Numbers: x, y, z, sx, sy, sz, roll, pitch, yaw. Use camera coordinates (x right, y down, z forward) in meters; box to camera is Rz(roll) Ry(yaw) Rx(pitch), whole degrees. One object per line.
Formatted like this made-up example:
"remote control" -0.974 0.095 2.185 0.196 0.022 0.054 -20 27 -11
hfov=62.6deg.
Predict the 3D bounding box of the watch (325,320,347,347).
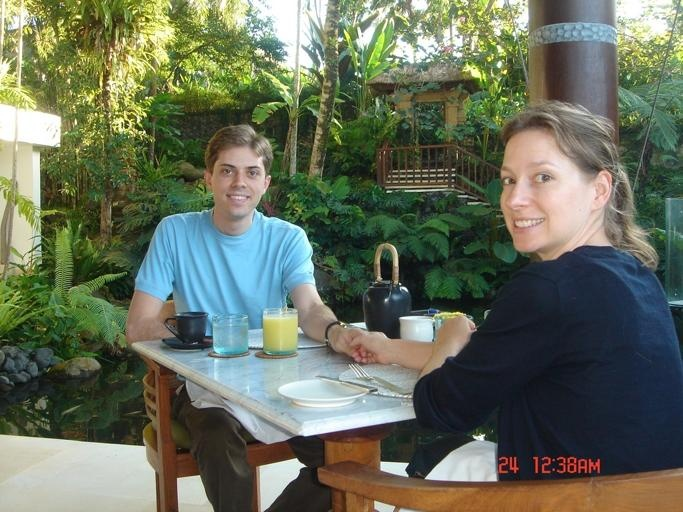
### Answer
"watch" -0.022 0.294 2.142 0.092 0.085 0.024 3 6 -36

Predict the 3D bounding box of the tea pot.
"tea pot" 0.173 0.138 2.198 0.186 0.370 0.182 0 9 0

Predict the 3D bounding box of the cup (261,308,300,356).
"cup" -0.203 0.270 2.003 0.126 0.157 0.133 1 6 0

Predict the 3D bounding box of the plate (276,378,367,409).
"plate" -0.051 0.368 1.518 0.137 0.062 0.201 -4 7 -36
